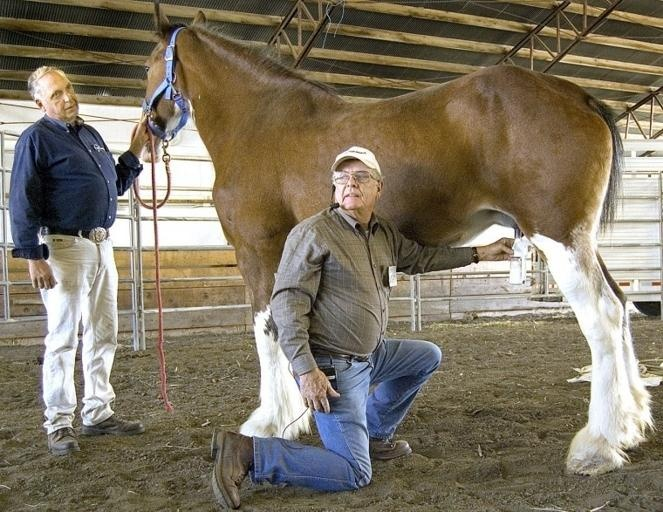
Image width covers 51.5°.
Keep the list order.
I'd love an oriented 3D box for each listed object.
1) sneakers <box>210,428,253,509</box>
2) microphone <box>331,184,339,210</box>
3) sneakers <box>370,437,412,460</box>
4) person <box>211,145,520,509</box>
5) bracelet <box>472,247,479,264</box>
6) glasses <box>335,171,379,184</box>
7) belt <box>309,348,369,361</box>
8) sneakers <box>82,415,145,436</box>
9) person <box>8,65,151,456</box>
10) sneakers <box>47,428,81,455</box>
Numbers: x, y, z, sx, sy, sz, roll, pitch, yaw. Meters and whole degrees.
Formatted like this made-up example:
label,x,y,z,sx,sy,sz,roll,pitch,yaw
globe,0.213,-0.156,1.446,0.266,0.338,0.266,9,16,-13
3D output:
label,x,y,z,sx,sy,sz,roll,pitch,yaw
sneakers,-0.516,1.082,3.509,0.215,0.371,0.162,-1,-2,-40
microphone,0.014,-0.307,3.761,0.073,0.118,0.108,-2,-18,-1
sneakers,0.337,1.075,3.920,0.218,0.123,0.099,-6,0,-7
person,0.049,0.341,3.694,1.414,1.794,0.489,-1,-1,-30
bracelet,0.814,-0.003,3.879,0.040,0.075,0.071,-5,29,-5
glasses,0.128,-0.408,3.577,0.238,0.064,0.067,-3,-1,4
belt,0.044,0.516,3.589,0.149,0.041,0.122,3,4,-10
sneakers,-1.379,1.047,4.396,0.381,0.177,0.150,-2,-9,-5
person,-1.581,0.016,4.193,0.696,2.281,0.360,-1,-2,-29
sneakers,-1.588,1.090,4.060,0.093,0.118,0.246,2,-14,-27
